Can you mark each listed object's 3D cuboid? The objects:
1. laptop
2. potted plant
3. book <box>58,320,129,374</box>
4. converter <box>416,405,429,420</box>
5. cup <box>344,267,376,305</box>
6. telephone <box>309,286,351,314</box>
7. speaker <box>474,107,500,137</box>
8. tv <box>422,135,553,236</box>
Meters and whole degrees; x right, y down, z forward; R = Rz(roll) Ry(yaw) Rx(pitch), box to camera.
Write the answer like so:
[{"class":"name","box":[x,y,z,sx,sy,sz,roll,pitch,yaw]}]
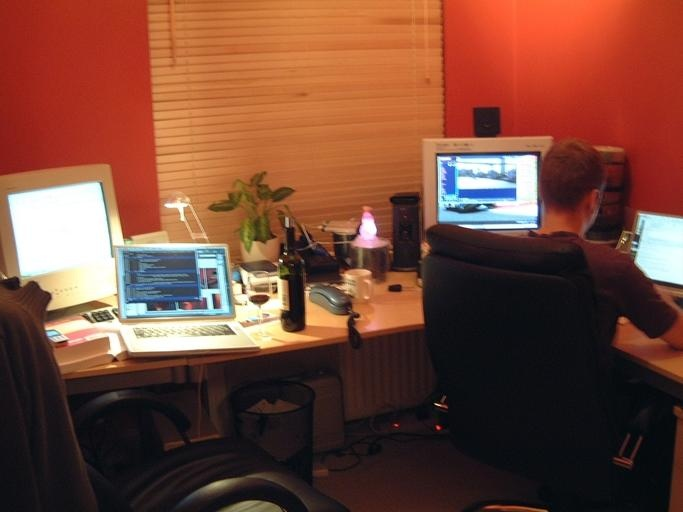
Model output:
[{"class":"laptop","box":[-0.624,0.163,2.360,0.567,0.307,0.563,-5,18,-38]},{"class":"potted plant","box":[-0.423,-0.229,3.103,0.491,0.445,0.516,7,10,39]},{"class":"book","box":[-0.925,0.345,2.194,0.208,0.048,0.197,-17,37,-33]},{"class":"converter","box":[0.457,0.885,3.285,0.070,0.075,0.019,2,-25,4]},{"class":"cup","box":[0.105,0.153,2.655,0.131,0.120,0.183,-3,10,-14]},{"class":"telephone","box":[-0.055,0.189,2.597,0.106,0.053,0.179,-8,18,-38]},{"class":"speaker","box":[0.788,-0.733,3.167,0.134,0.154,0.203,4,19,27]},{"class":"tv","box":[0.818,-0.359,2.982,0.658,0.474,0.368,6,20,37]}]
